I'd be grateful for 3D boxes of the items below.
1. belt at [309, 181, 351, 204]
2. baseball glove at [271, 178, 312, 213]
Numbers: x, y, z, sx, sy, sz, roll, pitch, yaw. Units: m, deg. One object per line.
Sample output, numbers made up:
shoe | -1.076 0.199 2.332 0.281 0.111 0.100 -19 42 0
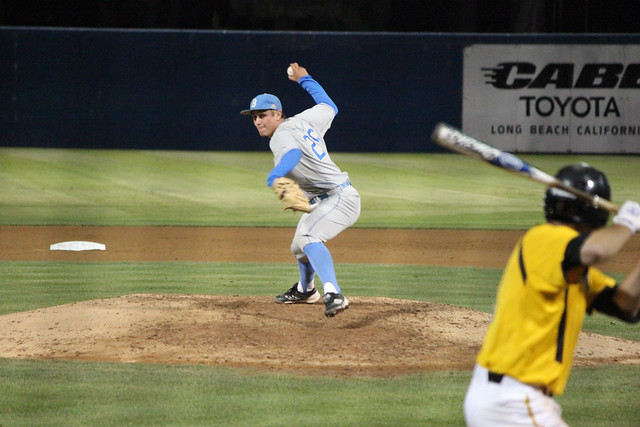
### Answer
belt | 0.148 -0.322 16.994 0.483 0.108 0.363 -23 -3 -46
baseball glove | -0.398 -0.271 16.240 0.639 0.157 0.372 28 46 -8
